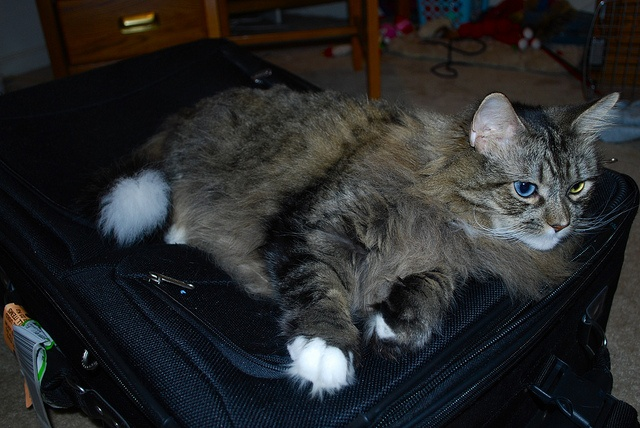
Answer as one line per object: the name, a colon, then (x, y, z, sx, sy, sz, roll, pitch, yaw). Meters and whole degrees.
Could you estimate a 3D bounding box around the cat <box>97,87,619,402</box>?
cat: (0.017, -0.074, 1.543, 1.145, 0.502, 0.856, 14, 25, 24)
